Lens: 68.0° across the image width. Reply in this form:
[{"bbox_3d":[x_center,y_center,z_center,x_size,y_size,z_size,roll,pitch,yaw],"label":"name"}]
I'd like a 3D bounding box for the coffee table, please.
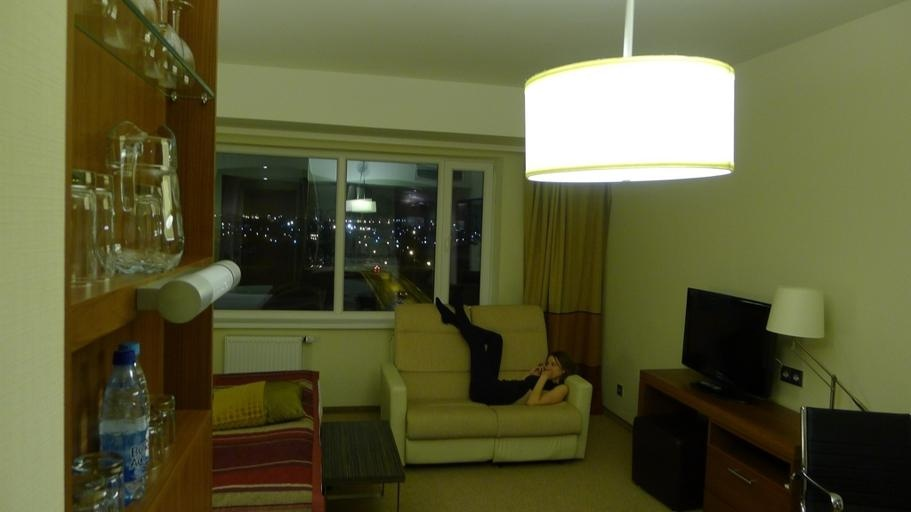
[{"bbox_3d":[-0.630,1.329,4.491,0.544,0.250,0.767,2,8,-10],"label":"coffee table"}]

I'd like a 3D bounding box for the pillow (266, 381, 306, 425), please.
[{"bbox_3d":[-1.247,1.044,4.865,0.267,0.256,0.079,4,-39,-14],"label":"pillow"}]

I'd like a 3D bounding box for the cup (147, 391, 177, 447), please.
[{"bbox_3d":[-1.135,0.639,2.701,0.149,0.164,0.145,-1,-12,0],"label":"cup"}]

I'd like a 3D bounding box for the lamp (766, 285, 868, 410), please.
[{"bbox_3d":[2.369,0.611,4.419,0.393,0.792,0.544,-4,8,-35],"label":"lamp"}]

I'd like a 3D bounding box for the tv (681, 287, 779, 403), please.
[{"bbox_3d":[1.993,0.642,4.963,0.223,0.710,0.944,2,5,-17],"label":"tv"}]

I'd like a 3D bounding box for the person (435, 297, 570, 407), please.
[{"bbox_3d":[0.416,0.943,5.889,1.173,0.986,0.713,-5,-7,17],"label":"person"}]

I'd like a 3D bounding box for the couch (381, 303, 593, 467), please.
[{"bbox_3d":[0.168,1.094,5.825,1.734,1.108,1.303,2,2,-9],"label":"couch"}]

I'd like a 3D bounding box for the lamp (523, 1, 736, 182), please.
[{"bbox_3d":[0.719,-0.642,2.988,0.669,0.691,0.646,0,1,-29],"label":"lamp"}]
